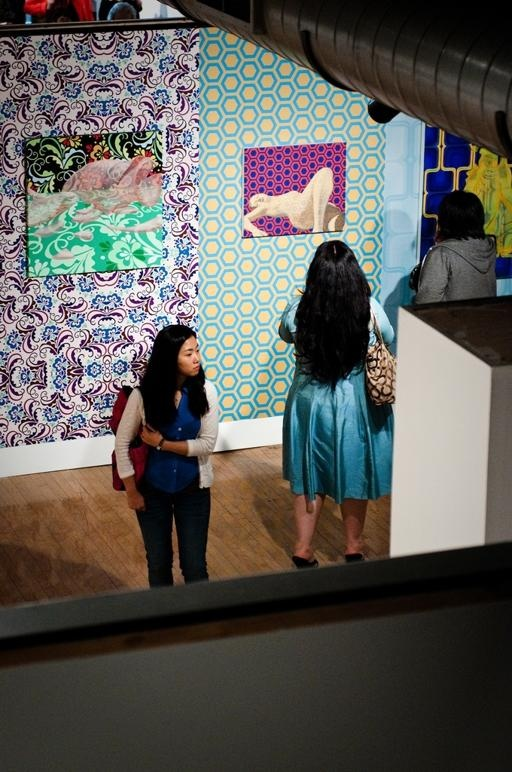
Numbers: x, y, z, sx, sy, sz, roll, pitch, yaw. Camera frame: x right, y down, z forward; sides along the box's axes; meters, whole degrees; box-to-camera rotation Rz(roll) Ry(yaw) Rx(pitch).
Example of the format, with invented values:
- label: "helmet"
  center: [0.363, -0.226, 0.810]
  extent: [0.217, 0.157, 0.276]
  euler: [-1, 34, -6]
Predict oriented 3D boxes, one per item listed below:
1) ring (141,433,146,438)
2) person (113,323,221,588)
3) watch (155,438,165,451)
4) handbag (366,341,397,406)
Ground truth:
- label: "ring"
  center: [-0.571, 0.251, 2.847]
  extent: [0.019, 0.020, 0.006]
  euler: [2, 4, 44]
- label: "person"
  center: [-0.469, 0.384, 2.956]
  extent: [0.545, 1.412, 0.269]
  euler: [5, 4, -15]
- label: "watch"
  center: [-0.485, 0.296, 2.847]
  extent: [0.037, 0.058, 0.061]
  euler: [11, 19, 9]
- label: "handbag"
  center: [0.728, -0.071, 3.272]
  extent: [0.135, 0.383, 0.303]
  euler: [-6, 13, -2]
